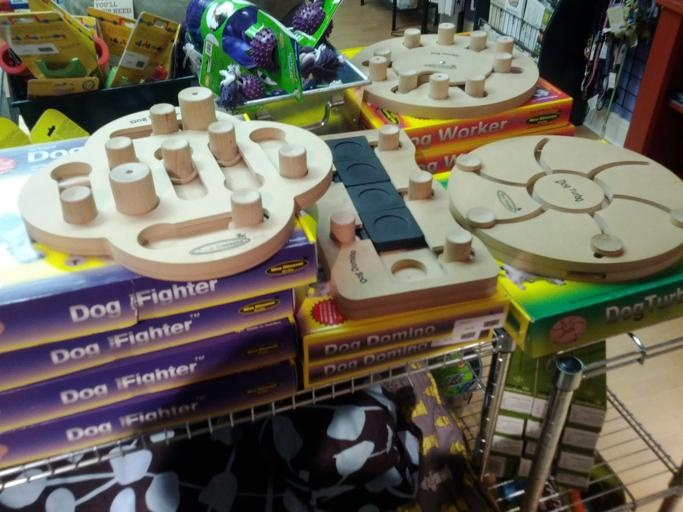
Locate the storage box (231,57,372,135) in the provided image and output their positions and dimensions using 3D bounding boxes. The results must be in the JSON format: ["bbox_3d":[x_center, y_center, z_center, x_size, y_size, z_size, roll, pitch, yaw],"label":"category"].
[{"bbox_3d":[-0.080,-0.352,1.374,0.364,0.171,0.150,-30,49,-31],"label":"storage box"}]
